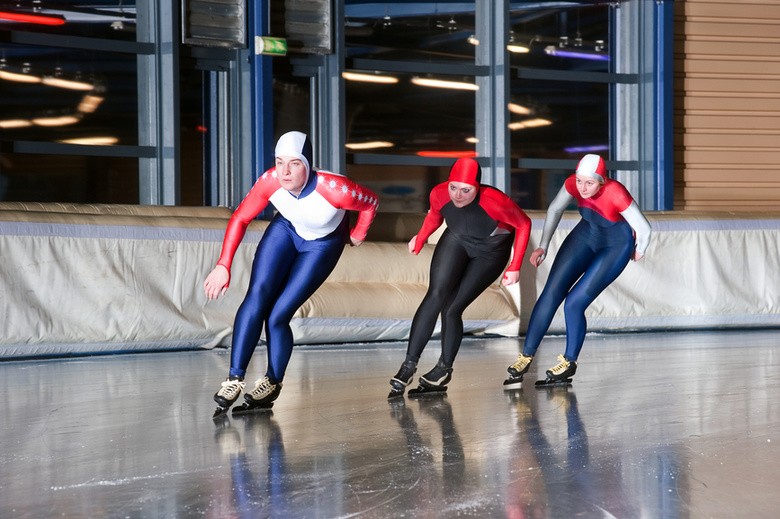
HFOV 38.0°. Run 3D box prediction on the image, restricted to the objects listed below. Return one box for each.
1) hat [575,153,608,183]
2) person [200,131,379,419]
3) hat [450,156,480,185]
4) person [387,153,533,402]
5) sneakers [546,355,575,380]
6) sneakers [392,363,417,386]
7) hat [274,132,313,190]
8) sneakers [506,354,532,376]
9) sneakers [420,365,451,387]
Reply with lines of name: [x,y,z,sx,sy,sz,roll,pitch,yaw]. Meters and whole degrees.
hat: [1.852,-0.834,10.403,0.230,0.225,0.304,9,-3,31]
person: [-0.853,0.097,9.660,1.426,2.347,0.600,-3,11,-9]
hat: [0.676,-0.778,10.022,0.243,0.228,0.274,3,-7,40]
person: [0.598,0.141,10.217,1.323,2.115,0.438,-4,11,-16]
sneakers: [1.597,1.010,10.547,0.248,0.123,0.216,0,5,37]
sneakers: [0.136,1.036,10.154,0.159,0.228,0.099,33,-15,12]
hat: [-0.806,-0.803,9.446,0.277,0.502,0.201,-4,11,-12]
sneakers: [1.202,0.980,10.472,0.165,0.100,0.209,-2,32,42]
sneakers: [0.430,1.055,10.199,0.319,0.130,0.154,2,-3,-28]
